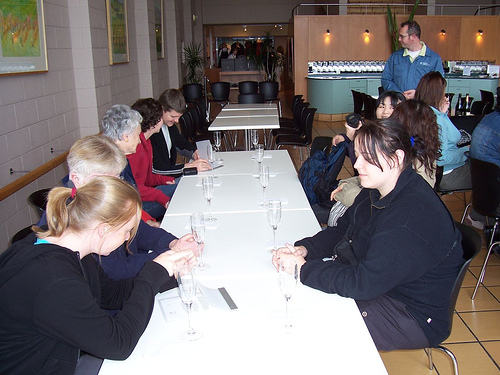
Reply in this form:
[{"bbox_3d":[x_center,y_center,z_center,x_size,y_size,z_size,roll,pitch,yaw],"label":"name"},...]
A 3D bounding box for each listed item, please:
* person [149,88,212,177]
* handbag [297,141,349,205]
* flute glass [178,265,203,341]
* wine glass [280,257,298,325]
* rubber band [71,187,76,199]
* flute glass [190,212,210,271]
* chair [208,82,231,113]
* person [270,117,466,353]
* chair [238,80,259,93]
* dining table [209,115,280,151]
[{"bbox_3d":[-0.764,-0.512,3.693,0.732,0.994,0.699,-6,28,-26],"label":"person"},{"bbox_3d":[0.623,-0.139,3.075,0.200,0.576,0.427,22,7,-22],"label":"handbag"},{"bbox_3d":[-0.205,0.395,1.167,0.077,0.216,0.078,-2,-1,-17],"label":"flute glass"},{"bbox_3d":[0.134,0.355,1.207,0.056,0.225,0.145,0,20,5],"label":"wine glass"},{"bbox_3d":[-0.620,0.019,1.211,0.026,0.039,0.015,1,-5,-19],"label":"rubber band"},{"bbox_3d":[-0.235,0.242,1.603,0.066,0.197,0.248,-6,21,-11],"label":"flute glass"},{"bbox_3d":[-0.784,-2.308,9.254,0.638,0.973,0.678,-4,3,-21],"label":"chair"},{"bbox_3d":[0.567,0.422,1.688,0.818,1.397,0.623,-6,11,8],"label":"person"},{"bbox_3d":[-0.090,-2.690,8.978,0.415,0.346,0.404,3,9,31],"label":"chair"},{"bbox_3d":[-0.091,-0.870,5.510,1.001,0.592,0.605,0,40,5],"label":"dining table"}]
